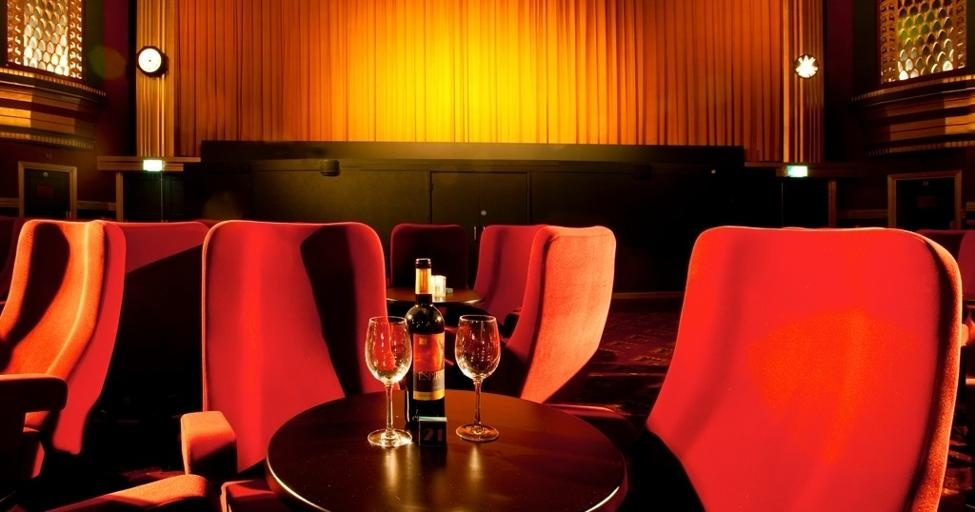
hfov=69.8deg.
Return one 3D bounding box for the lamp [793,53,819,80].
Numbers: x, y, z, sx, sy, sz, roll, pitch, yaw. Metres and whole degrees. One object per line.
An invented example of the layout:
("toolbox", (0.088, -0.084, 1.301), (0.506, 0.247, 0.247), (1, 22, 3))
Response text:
("lamp", (5.804, -3.453, 12.716), (0.428, 0.438, 0.100), (13, 9, 4))
